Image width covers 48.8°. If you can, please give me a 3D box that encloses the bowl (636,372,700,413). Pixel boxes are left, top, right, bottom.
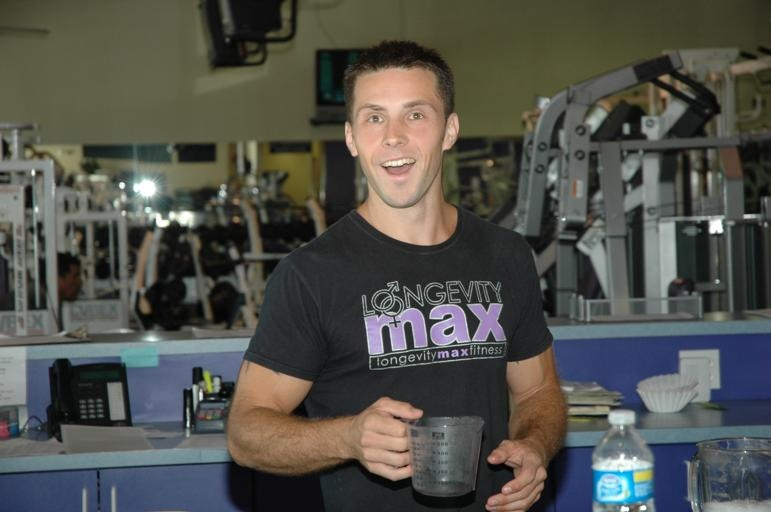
[{"bbox_3d":[1.454,0.697,4.335,0.327,0.186,0.187,-2,-2,3],"label":"bowl"}]
